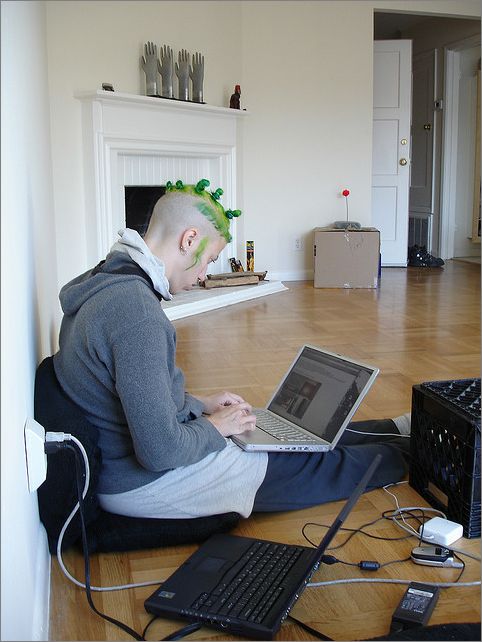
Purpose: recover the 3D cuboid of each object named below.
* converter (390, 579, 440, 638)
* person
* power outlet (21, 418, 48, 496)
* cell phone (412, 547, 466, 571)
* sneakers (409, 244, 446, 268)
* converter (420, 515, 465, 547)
[{"bbox_3d":[0.325,0.538,0.944,0.056,0.053,0.164,5,16,33],"label":"converter"},{"bbox_3d":[-0.010,0.112,1.650,1.177,0.998,0.579,-5,9,-34],"label":"person"},{"bbox_3d":[-0.345,0.217,0.845,0.028,0.125,0.121,-7,13,-18],"label":"power outlet"},{"bbox_3d":[0.449,0.541,1.163,0.075,0.023,0.047,2,8,5],"label":"cell phone"},{"bbox_3d":[2.471,-0.872,6.749,0.397,0.197,0.296,8,10,4],"label":"sneakers"},{"bbox_3d":[0.494,0.521,1.260,0.086,0.048,0.084,-14,17,-37],"label":"converter"}]
